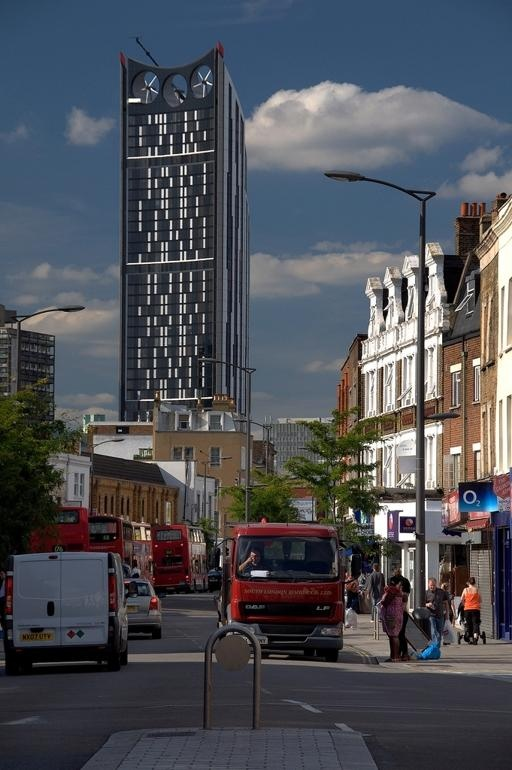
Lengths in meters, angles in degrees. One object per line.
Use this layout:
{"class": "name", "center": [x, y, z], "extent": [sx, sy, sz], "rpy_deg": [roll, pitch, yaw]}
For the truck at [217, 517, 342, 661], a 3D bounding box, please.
{"class": "truck", "center": [0.450, 3.380, 26.520], "extent": [1.810, 2.281, 3.691], "rpy_deg": [-1, -6, -3]}
